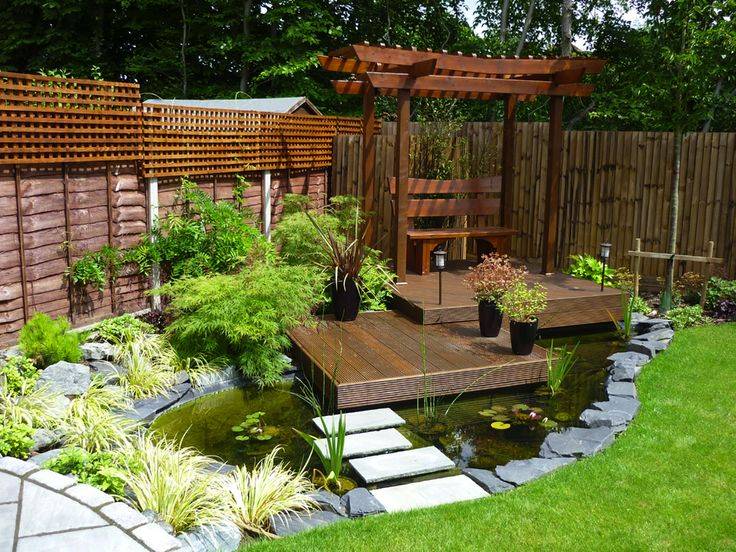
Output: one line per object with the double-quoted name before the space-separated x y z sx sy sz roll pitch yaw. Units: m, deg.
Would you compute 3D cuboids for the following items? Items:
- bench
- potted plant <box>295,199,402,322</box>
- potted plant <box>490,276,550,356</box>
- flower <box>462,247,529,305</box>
"bench" 1.428 -0.818 8.446 1.984 1.287 0.820 -5 22 -22
"potted plant" -0.332 -0.134 7.029 1.161 1.392 1.802 1 -6 13
"potted plant" 1.705 0.465 5.827 0.481 0.785 0.495 2 15 13
"flower" 1.652 0.011 6.866 0.594 0.568 0.595 23 44 29
